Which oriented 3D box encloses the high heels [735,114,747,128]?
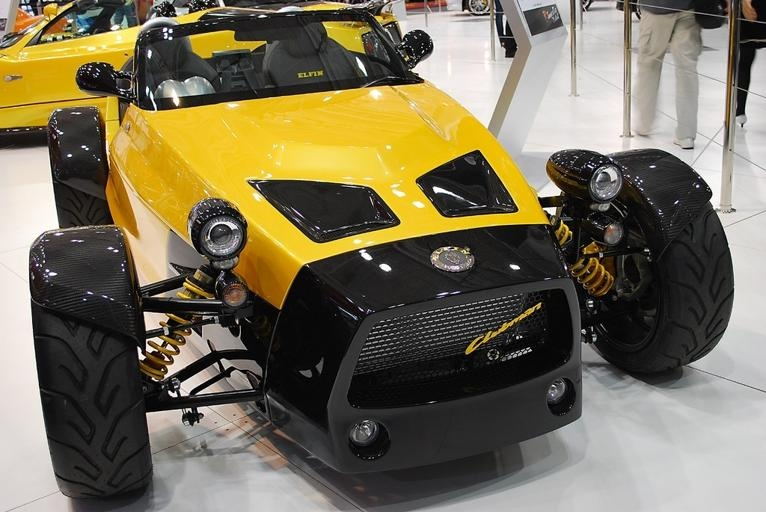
[{"bbox_3d":[3.554,-1.347,5.127,0.047,0.061,0.150,0,33,8],"label":"high heels"}]

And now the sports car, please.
[{"bbox_3d":[-0.535,-0.317,3.351,2.657,1.399,3.477,-7,21,-16],"label":"sports car"}]
